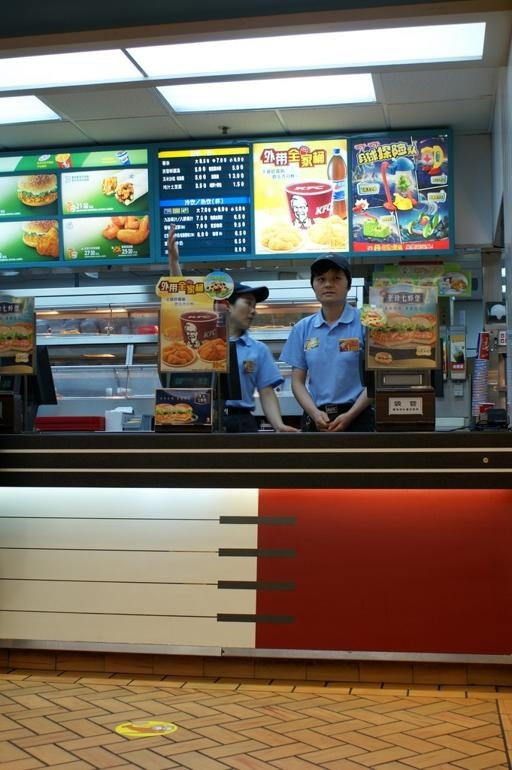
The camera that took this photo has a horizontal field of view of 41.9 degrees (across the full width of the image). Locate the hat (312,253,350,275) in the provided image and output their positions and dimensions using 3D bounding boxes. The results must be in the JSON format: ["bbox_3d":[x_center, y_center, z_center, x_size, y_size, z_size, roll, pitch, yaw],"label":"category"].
[{"bbox_3d":[0.321,-0.516,2.858,0.190,0.089,0.148,-5,9,-16],"label":"hat"}]

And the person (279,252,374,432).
[{"bbox_3d":[0.305,-0.169,2.826,0.346,0.744,0.583,-4,8,-5],"label":"person"}]

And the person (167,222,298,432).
[{"bbox_3d":[-0.127,-0.234,3.068,0.476,0.944,0.441,-6,15,-15],"label":"person"}]
